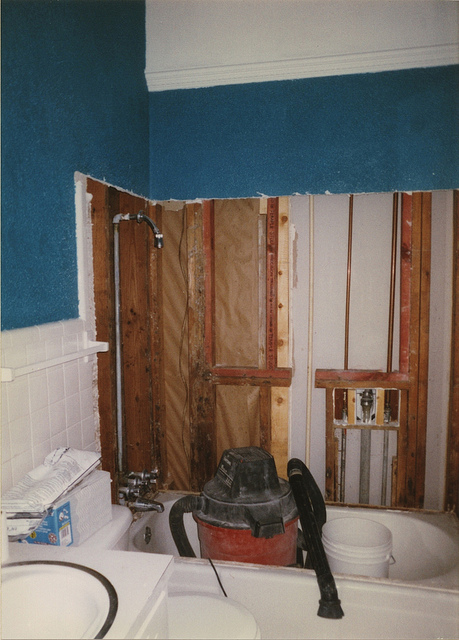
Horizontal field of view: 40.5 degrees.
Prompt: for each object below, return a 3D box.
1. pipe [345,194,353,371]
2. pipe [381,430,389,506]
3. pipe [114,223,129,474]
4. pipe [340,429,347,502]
[{"bbox_3d":[0.550,-0.170,2.863,0.028,0.804,0.063,-1,2,-18],"label":"pipe"},{"bbox_3d":[0.717,0.674,2.904,0.038,0.422,0.027,2,-9,8],"label":"pipe"},{"bbox_3d":[-0.459,0.110,2.885,0.054,1.222,0.059,1,-4,-31],"label":"pipe"},{"bbox_3d":[0.533,0.687,2.935,0.029,0.347,0.027,0,-4,32],"label":"pipe"}]
